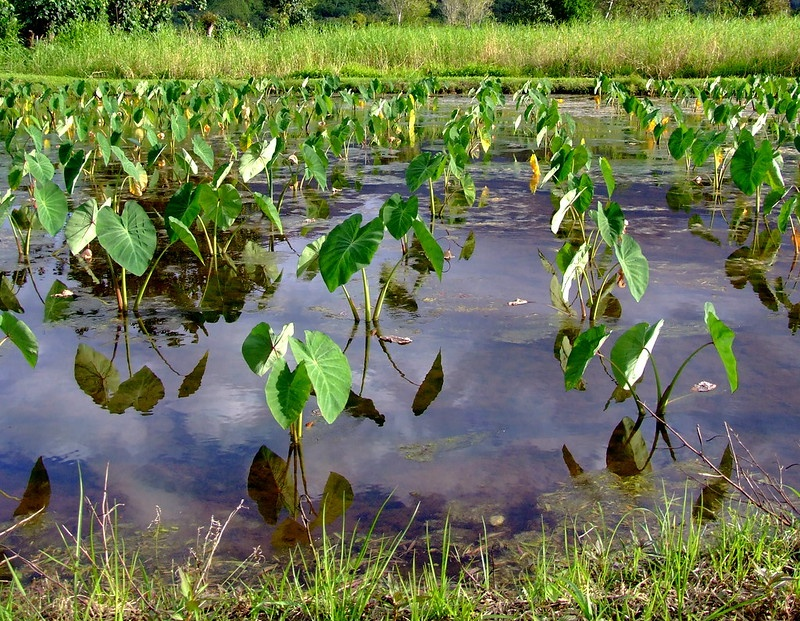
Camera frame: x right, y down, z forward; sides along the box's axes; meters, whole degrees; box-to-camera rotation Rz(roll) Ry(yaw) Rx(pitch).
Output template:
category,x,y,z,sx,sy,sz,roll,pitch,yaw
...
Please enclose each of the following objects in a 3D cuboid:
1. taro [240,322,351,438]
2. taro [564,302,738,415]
category,x,y,z,sx,sy,sz,roll,pitch,yaw
taro,-0.367,0.261,2.724,0.276,0.476,0.423,-11,23,-28
taro,1.015,0.242,2.920,0.533,0.402,0.512,13,1,30
